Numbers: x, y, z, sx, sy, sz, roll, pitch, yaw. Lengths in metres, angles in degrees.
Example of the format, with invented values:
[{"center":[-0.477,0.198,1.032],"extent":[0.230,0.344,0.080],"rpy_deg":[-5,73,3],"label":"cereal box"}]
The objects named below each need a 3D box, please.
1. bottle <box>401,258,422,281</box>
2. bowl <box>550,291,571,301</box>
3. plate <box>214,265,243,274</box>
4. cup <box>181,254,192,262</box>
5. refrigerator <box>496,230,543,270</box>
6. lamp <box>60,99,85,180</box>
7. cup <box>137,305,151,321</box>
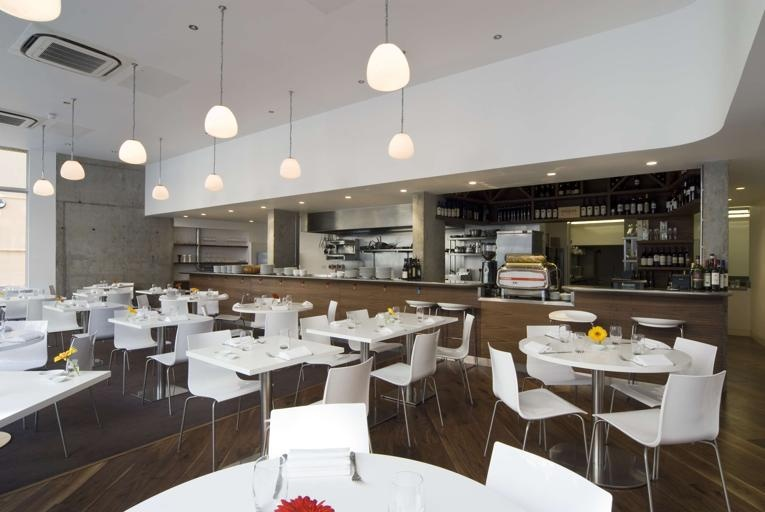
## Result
[{"center":[0.528,0.247,8.583],"extent":[0.341,0.389,0.201],"rpy_deg":[0,-5,14],"label":"bottle"},{"center":[2.654,0.606,7.183],"extent":[0.204,0.080,0.160],"rpy_deg":[4,-1,35],"label":"bowl"},{"center":[-3.598,0.320,11.417],"extent":[0.514,0.239,1.115],"rpy_deg":[5,-7,-37],"label":"plate"},{"center":[-5.456,0.086,13.449],"extent":[0.265,0.255,0.200],"rpy_deg":[3,5,23],"label":"cup"},{"center":[2.687,-0.203,9.631],"extent":[0.967,0.949,0.714],"rpy_deg":[0,4,28],"label":"refrigerator"},{"center":[-5.039,-1.885,7.862],"extent":[0.337,1.268,0.326],"rpy_deg":[8,17,-11],"label":"lamp"},{"center":[-3.331,0.799,6.704],"extent":[0.221,0.215,0.218],"rpy_deg":[1,5,0],"label":"cup"}]
